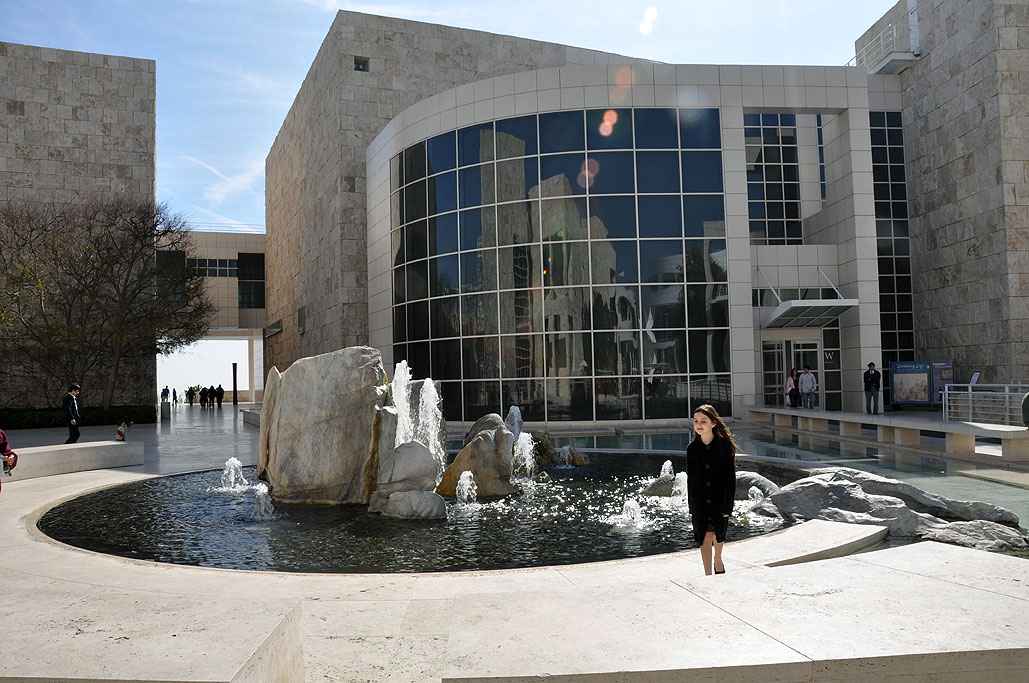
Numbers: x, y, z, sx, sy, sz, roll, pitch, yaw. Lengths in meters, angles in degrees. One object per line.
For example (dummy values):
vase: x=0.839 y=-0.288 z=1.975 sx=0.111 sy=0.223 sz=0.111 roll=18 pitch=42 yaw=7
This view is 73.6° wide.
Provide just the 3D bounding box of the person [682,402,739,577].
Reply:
person: x=2.491 y=1.880 z=8.609 sx=0.596 sy=2.166 sz=0.646 roll=-3 pitch=4 yaw=-26

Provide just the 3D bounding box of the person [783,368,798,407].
person: x=11.390 y=1.927 z=28.095 sx=0.459 sy=1.505 sz=1.079 roll=0 pitch=4 yaw=21

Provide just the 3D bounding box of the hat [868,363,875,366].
hat: x=13.821 y=0.888 z=26.525 sx=0.355 sy=0.120 sz=0.346 roll=0 pitch=1 yaw=16
